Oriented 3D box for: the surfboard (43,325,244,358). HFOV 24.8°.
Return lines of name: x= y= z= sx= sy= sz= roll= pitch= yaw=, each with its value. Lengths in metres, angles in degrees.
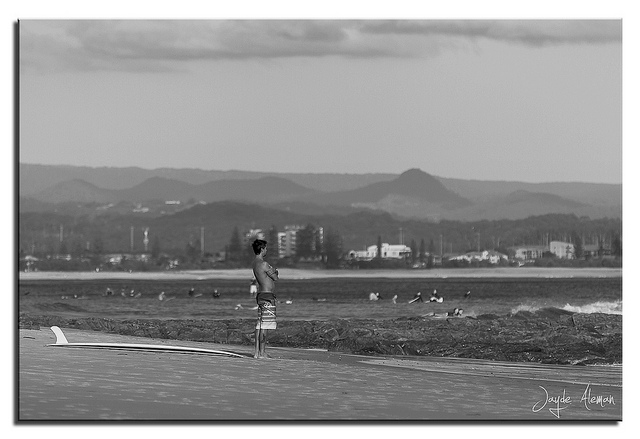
surfboard: x=-13.630 y=9.352 z=110.306 sx=13.853 sy=1.664 sz=1.350 roll=1 pitch=2 yaw=4
